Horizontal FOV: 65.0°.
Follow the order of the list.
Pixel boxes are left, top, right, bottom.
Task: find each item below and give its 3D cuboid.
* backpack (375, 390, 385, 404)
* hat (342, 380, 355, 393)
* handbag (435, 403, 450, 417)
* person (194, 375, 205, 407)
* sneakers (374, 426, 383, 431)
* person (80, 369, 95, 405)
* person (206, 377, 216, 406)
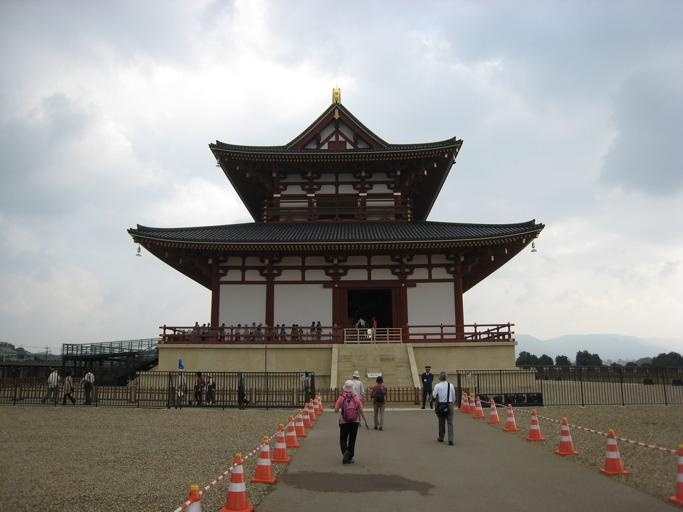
[{"bbox_3d":[1.354,5.012,19.146,0.287,0.495,0.279,3,-15,-8],"label":"backpack"},{"bbox_3d":[0.188,3.624,15.181,0.350,0.421,0.426,0,-36,-3],"label":"hat"},{"bbox_3d":[3.186,4.880,17.043,0.436,0.479,0.335,-2,-12,-1],"label":"handbag"},{"bbox_3d":[-7.117,6.645,26.756,0.453,1.664,1.626,5,-16,-14],"label":"person"},{"bbox_3d":[1.311,6.173,19.170,0.306,0.226,0.111,1,-15,4],"label":"sneakers"},{"bbox_3d":[-13.378,7.000,28.281,0.546,1.613,1.653,8,-17,-24],"label":"person"},{"bbox_3d":[-6.561,6.867,26.702,0.490,1.140,1.207,5,-16,-13],"label":"person"}]
